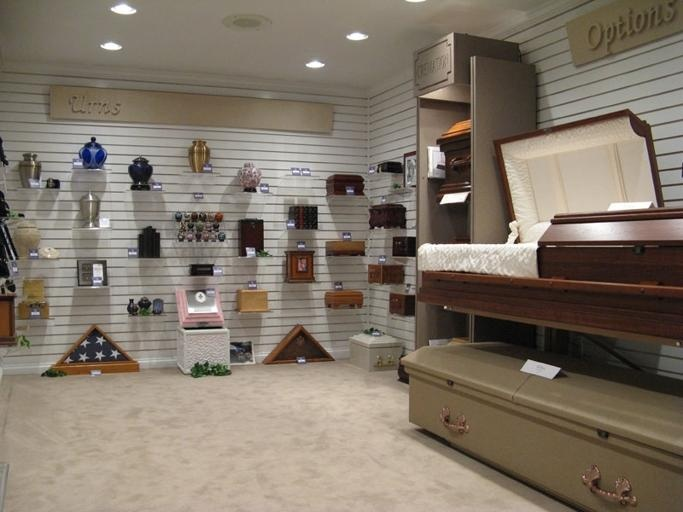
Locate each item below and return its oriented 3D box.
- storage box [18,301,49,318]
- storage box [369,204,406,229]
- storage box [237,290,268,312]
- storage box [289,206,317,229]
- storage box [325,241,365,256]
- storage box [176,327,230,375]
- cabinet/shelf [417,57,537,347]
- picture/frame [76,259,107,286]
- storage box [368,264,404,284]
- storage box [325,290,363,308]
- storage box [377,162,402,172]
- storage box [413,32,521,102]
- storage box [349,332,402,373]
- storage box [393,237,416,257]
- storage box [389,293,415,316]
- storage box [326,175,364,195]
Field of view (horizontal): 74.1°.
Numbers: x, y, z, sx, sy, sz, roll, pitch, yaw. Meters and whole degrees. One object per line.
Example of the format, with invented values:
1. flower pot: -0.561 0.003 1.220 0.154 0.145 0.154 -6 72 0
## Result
1. storage box: -4.132 0.733 6.080 0.296 0.154 0.274 2 -2 -28
2. storage box: 0.696 -0.577 6.689 0.417 0.316 0.596 -3 3 -28
3. storage box: -1.346 0.684 6.855 0.471 0.355 0.357 0 0 -13
4. storage box: -0.577 -0.587 6.974 0.437 0.332 0.216 0 -1 -17
5. storage box: 0.060 -0.130 7.206 0.613 0.250 0.278 0 0 -4
6. storage box: -1.968 1.330 6.549 0.730 0.565 0.673 1 -2 -25
7. cabinet/shelf: 1.426 -0.480 4.853 0.805 3.021 1.010 0 1 -30
8. picture/frame: -3.500 0.233 6.400 0.353 0.383 0.216 0 1 3
9. storage box: 0.699 0.266 6.650 0.346 0.206 0.457 0 0 -23
10. storage box: 0.023 0.708 7.258 0.596 0.306 0.350 0 0 -2
11. storage box: 0.718 -1.309 6.669 0.279 0.080 0.195 0 3 -19
12. storage box: 1.375 -2.061 4.995 1.169 0.425 1.042 0 11 6
13. storage box: 0.519 1.425 6.827 0.595 0.387 0.751 2 -3 -23
14. storage box: 0.877 -0.127 6.413 0.290 0.300 0.474 -1 2 -28
15. storage box: 0.803 0.662 6.316 0.317 0.331 0.548 1 -2 -29
16. storage box: 0.060 -1.131 7.161 0.584 0.368 0.283 0 1 -1
